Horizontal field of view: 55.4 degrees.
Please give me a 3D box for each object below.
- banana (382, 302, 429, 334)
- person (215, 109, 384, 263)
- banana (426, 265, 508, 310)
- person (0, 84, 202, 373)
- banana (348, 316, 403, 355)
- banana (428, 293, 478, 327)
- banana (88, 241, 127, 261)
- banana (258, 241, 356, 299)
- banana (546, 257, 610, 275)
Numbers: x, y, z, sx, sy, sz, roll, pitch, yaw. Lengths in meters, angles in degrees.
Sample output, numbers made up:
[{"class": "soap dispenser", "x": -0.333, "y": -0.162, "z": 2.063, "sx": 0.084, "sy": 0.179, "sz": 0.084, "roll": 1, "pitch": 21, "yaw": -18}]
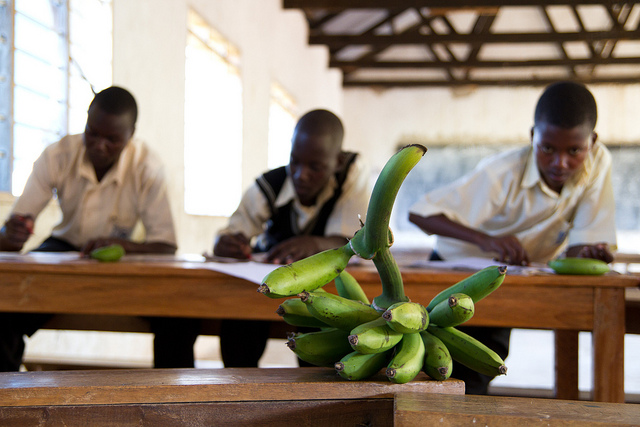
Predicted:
[{"class": "banana", "x": 0.202, "y": 0.250, "z": 1.489, "sx": 0.115, "sy": 0.057, "sz": 0.067, "roll": 9, "pitch": -51, "yaw": -32}, {"class": "person", "x": -0.133, "y": -0.068, "z": 2.726, "sx": 0.545, "sy": 0.557, "sz": 0.811, "roll": 15, "pitch": 13, "yaw": 21}, {"class": "banana", "x": 0.414, "y": 0.214, "z": 1.720, "sx": 0.210, "sy": 0.056, "sz": 0.071, "roll": -26, "pitch": -48, "yaw": 19}, {"class": "person", "x": -0.943, "y": 0.053, "z": 2.669, "sx": 0.852, "sy": 1.263, "sz": 0.641, "roll": 3, "pitch": -3, "yaw": -4}, {"class": "banana", "x": 0.129, "y": 0.301, "z": 1.498, "sx": 0.058, "sy": 0.106, "sz": 0.156, "roll": -3, "pitch": -3, "yaw": 44}, {"class": "banana", "x": 0.316, "y": 0.236, "z": 1.486, "sx": 0.070, "sy": 0.086, "sz": 0.114, "roll": 4, "pitch": -4, "yaw": -18}, {"class": "banana", "x": -0.767, "y": 0.134, "z": 2.198, "sx": 0.123, "sy": 0.068, "sz": 0.053, "roll": -4, "pitch": -11, "yaw": -6}, {"class": "banana", "x": -0.039, "y": 0.158, "z": 1.700, "sx": 0.275, "sy": 0.076, "sz": 0.088, "roll": -19, "pitch": 45, "yaw": -26}, {"class": "banana", "x": 0.860, "y": 0.175, "z": 2.033, "sx": 0.191, "sy": 0.052, "sz": 0.095, "roll": 0, "pitch": -5, "yaw": 22}]
